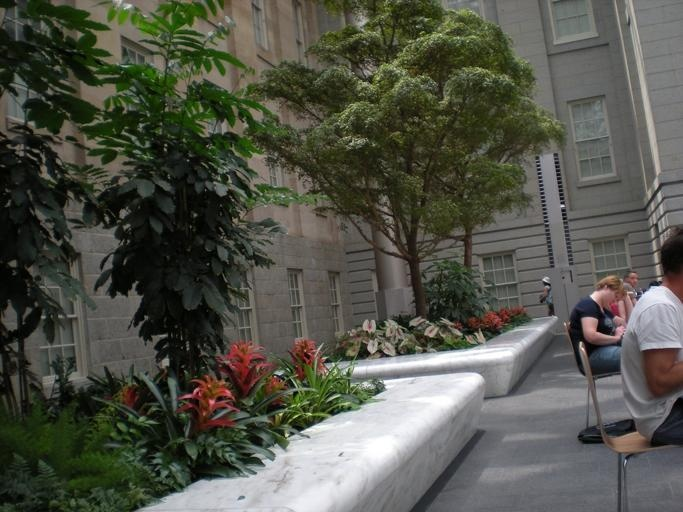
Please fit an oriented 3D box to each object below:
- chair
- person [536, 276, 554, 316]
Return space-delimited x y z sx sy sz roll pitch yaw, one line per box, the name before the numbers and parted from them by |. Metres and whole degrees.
chair | 2.062 1.199 3.854 0.487 0.872 1.318 -9 -7 17
person | 7.373 1.500 18.903 0.348 1.342 1.250 -3 9 15
